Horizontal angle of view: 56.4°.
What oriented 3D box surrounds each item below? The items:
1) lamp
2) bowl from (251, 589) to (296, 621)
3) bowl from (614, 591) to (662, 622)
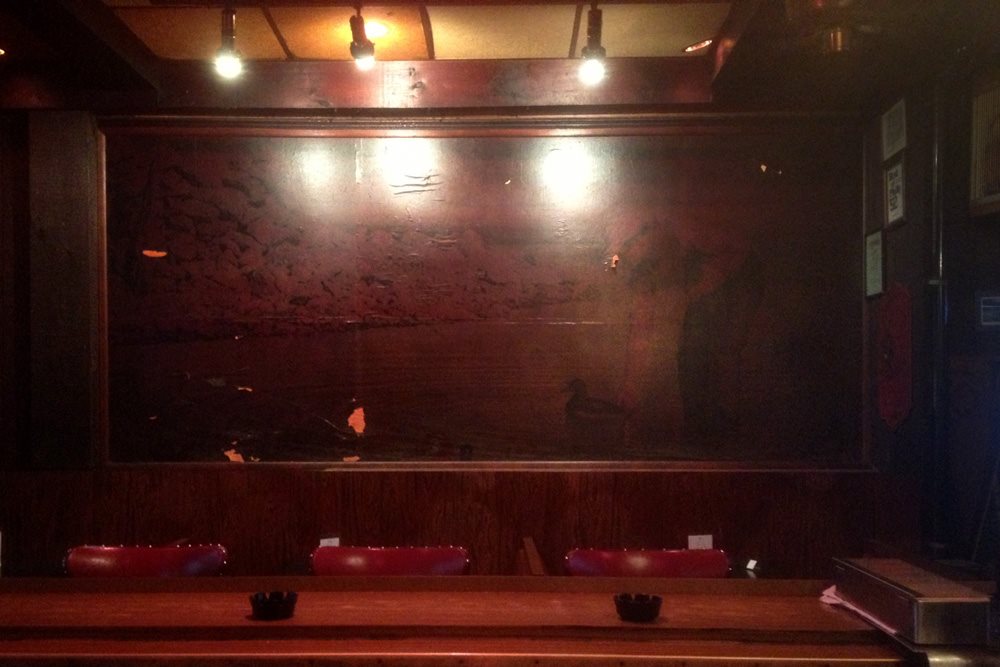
[{"bbox_3d":[-0.525,-1.698,5.571,2.426,1.140,0.425,0,-86,0],"label":"lamp"},{"bbox_3d":[-0.974,1.159,4.007,0.148,0.136,0.054,0,-90,-7],"label":"bowl"},{"bbox_3d":[0.598,1.157,3.998,0.143,0.135,0.054,2,-94,-23],"label":"bowl"}]
